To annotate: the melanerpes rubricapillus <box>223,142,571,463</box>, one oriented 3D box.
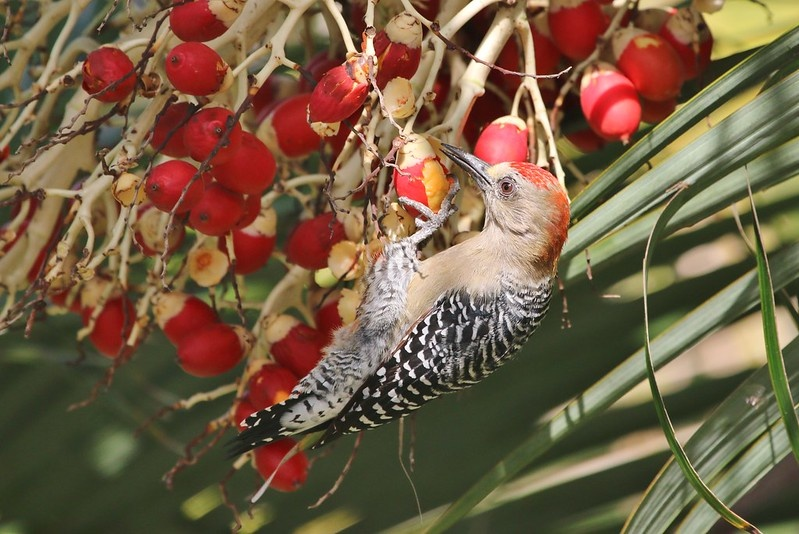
[{"bbox_3d":[-0.022,0.063,1.775,0.643,0.519,0.253,-12,30,-10],"label":"melanerpes rubricapillus"}]
